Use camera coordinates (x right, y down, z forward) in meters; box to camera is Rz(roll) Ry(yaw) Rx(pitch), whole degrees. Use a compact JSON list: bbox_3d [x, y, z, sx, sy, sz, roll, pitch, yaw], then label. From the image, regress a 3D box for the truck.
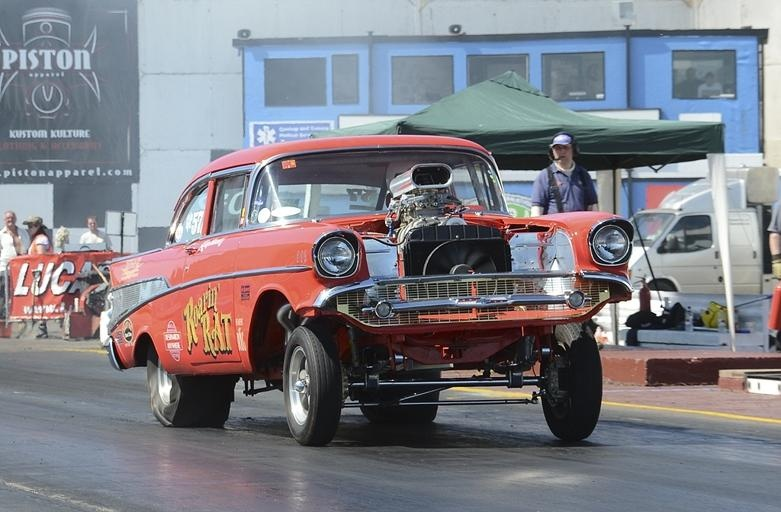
[{"bbox_3d":[6.453,-0.518,27.144,4.248,2.358,2.325,2,-3,-12],"label":"truck"}]
